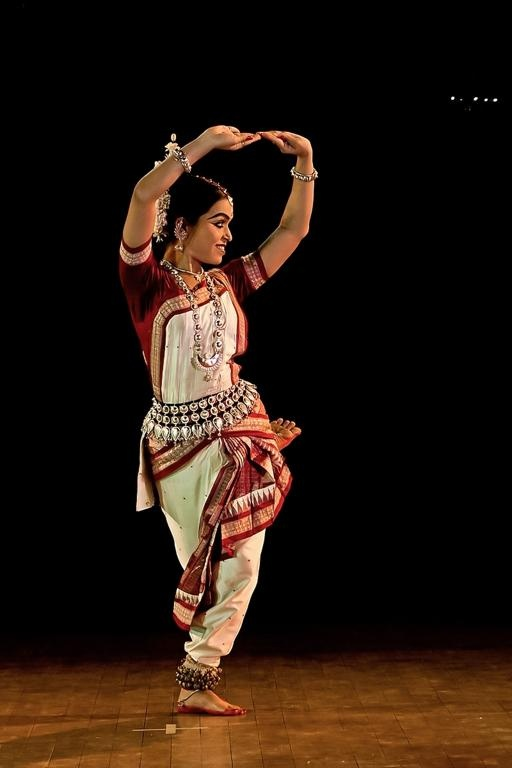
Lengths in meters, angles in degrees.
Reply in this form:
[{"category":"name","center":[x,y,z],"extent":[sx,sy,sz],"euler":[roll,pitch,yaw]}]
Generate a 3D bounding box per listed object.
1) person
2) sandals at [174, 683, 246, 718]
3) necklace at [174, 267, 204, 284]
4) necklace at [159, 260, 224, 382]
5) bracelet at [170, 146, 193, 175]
[{"category":"person","center":[-0.124,0.058,1.860],"extent":[0.460,1.383,0.535],"euler":[8,11,3]},{"category":"sandals","center":[-0.119,0.746,1.792],"extent":[0.176,0.070,0.061],"euler":[-3,-4,18]},{"category":"necklace","center":[-0.161,-0.271,1.828],"extent":[0.052,0.019,0.050],"euler":[8,12,9]},{"category":"necklace","center":[-0.143,-0.138,1.779],"extent":[0.112,0.236,0.161],"euler":[2,12,-25]},{"category":"bracelet","center":[-0.166,-0.483,1.634],"extent":[0.020,0.052,0.044],"euler":[-33,22,-7]}]
